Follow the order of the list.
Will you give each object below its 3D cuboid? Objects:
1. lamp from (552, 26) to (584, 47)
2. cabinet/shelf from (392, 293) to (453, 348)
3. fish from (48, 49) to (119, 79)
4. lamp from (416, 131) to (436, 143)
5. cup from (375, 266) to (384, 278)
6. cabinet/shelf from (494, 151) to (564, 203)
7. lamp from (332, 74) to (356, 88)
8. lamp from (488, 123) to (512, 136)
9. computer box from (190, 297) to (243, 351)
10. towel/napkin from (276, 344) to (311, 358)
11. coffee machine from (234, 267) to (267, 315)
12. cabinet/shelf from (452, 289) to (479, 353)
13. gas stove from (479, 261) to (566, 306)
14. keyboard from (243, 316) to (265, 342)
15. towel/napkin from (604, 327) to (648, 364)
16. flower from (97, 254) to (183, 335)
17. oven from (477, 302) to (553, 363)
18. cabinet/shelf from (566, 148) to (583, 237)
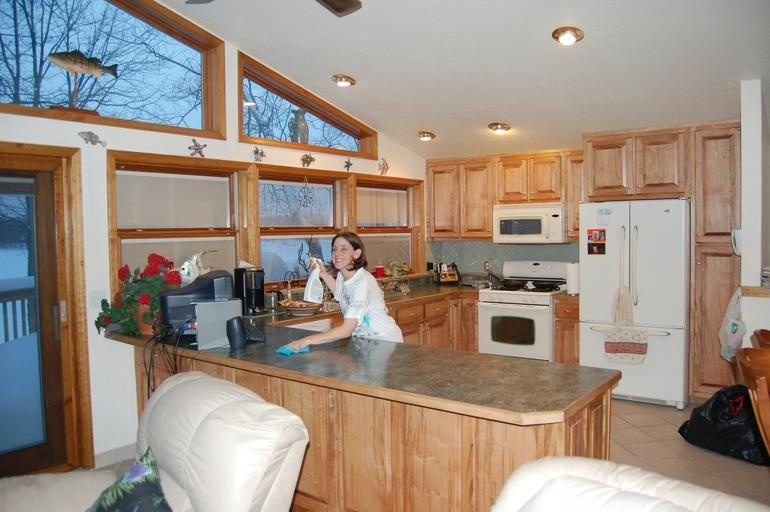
[{"bbox_3d":[1.444,-1.738,4.145,0.222,0.099,0.223,-5,3,-42],"label":"lamp"},{"bbox_3d":[0.385,0.686,5.768,0.302,0.611,0.695,-3,-1,40],"label":"cabinet/shelf"},{"bbox_3d":[-2.478,-1.586,4.310,0.518,0.173,0.222,-5,3,-34],"label":"fish"},{"bbox_3d":[0.492,-1.431,6.240,0.214,0.077,0.335,-3,2,5],"label":"lamp"},{"bbox_3d":[-0.065,0.190,6.422,0.131,0.127,0.126,2,-1,0],"label":"cup"},{"bbox_3d":[1.820,-0.914,6.502,1.037,0.712,0.534,0,1,33],"label":"cabinet/shelf"},{"bbox_3d":[-0.409,-1.749,5.234,0.237,0.081,0.273,-3,2,-5],"label":"lamp"},{"bbox_3d":[1.272,-1.414,5.800,0.252,0.083,0.321,-3,2,11],"label":"lamp"},{"bbox_3d":[-1.289,0.494,3.798,0.481,0.373,0.417,3,-8,-19],"label":"computer box"},{"bbox_3d":[-0.616,0.623,3.539,0.229,0.066,0.129,-4,2,-19],"label":"towel/napkin"},{"bbox_3d":[-1.238,0.312,4.773,0.262,0.447,0.214,-5,3,-21],"label":"coffee machine"},{"bbox_3d":[1.014,0.784,6.473,0.289,0.732,0.145,-3,3,18],"label":"cabinet/shelf"},{"bbox_3d":[1.666,0.304,6.271,1.020,0.481,0.657,-3,2,19],"label":"gas stove"},{"bbox_3d":[-0.991,0.534,3.949,0.186,0.090,0.236,-1,3,-30],"label":"keyboard"},{"bbox_3d":[2.507,0.927,5.429,0.044,0.380,0.452,14,-14,-32],"label":"towel/napkin"},{"bbox_3d":[-2.040,0.315,4.392,0.691,0.673,0.725,2,6,-5],"label":"flower"},{"bbox_3d":[1.588,0.725,6.218,1.003,0.703,0.670,-2,-4,31],"label":"oven"},{"bbox_3d":[2.251,-0.719,6.133,0.176,1.015,0.229,-7,4,-44],"label":"cabinet/shelf"}]
